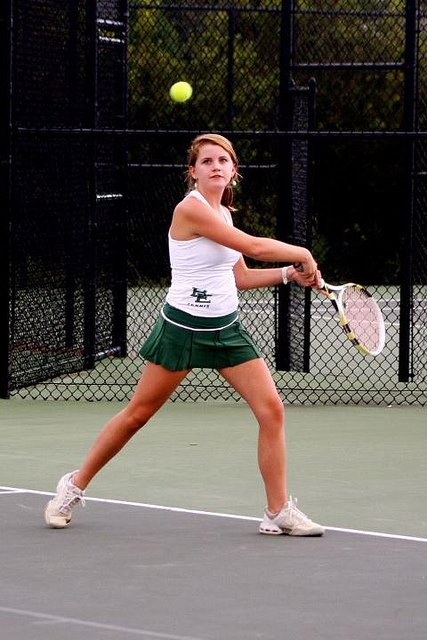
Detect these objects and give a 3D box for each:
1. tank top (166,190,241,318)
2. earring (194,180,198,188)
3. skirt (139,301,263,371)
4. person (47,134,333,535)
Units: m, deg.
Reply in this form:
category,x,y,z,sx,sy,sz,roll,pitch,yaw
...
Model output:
category,x,y,z,sx,sy,sz,roll,pitch,yaw
tank top,-0.039,-0.266,2.543,0.290,0.491,0.343,3,6,23
earring,-0.080,-0.576,2.622,0.008,0.031,0.023,0,7,-27
skirt,-0.051,0.048,2.539,0.498,0.271,0.276,4,21,6
person,-0.078,0.191,2.557,1.025,1.368,0.453,-3,-5,27
